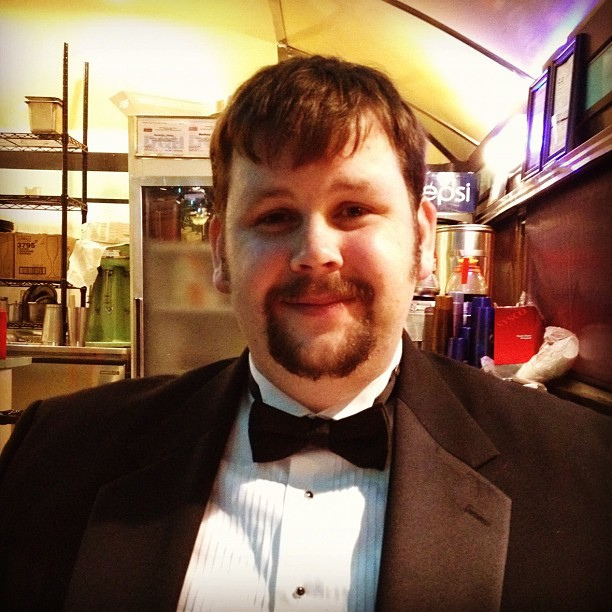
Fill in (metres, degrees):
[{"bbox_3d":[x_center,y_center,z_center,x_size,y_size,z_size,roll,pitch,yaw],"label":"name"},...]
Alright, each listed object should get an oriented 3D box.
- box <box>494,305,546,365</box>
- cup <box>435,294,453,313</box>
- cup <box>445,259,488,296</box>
[{"bbox_3d":[0.877,0.113,2.313,0.221,0.284,0.296,-3,-6,32],"label":"box"},{"bbox_3d":[0.619,0.002,2.468,0.071,0.088,0.093,4,-5,-22],"label":"cup"},{"bbox_3d":[0.742,-0.116,2.507,0.180,0.193,0.180,1,-2,0],"label":"cup"}]
